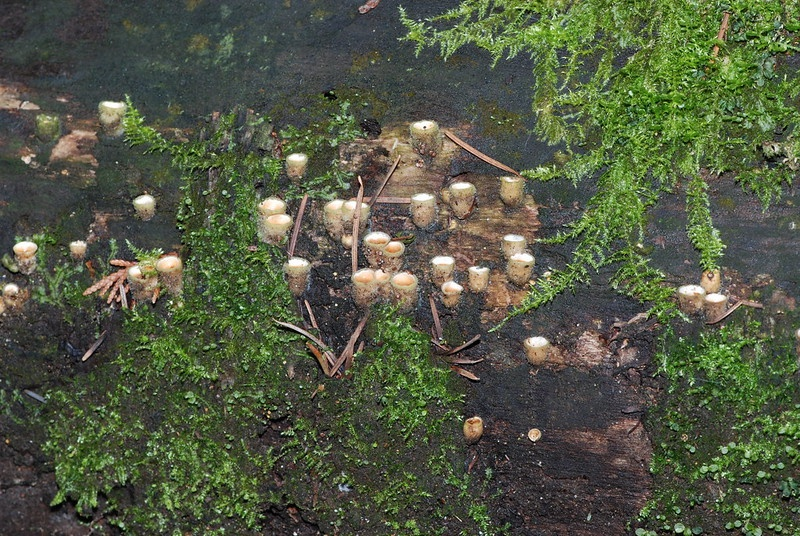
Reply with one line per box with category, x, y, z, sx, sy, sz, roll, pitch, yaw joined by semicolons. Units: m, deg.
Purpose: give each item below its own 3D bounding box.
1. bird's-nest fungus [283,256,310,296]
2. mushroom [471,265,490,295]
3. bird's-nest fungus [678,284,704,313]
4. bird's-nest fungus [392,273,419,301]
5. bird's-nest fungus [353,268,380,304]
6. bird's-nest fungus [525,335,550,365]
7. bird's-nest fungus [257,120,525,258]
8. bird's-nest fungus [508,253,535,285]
bird's-nest fungus;-0.842;0.038;8.093;0.276;0.313;0.275;6;26;13
mushroom;0.680;0.091;7.890;0.181;0.151;0.189;6;63;-2
bird's-nest fungus;2.427;0.262;7.650;0.205;0.136;0.199;3;63;-3
bird's-nest fungus;0.049;0.162;7.892;0.235;0.129;0.240;1;63;-4
bird's-nest fungus;-0.258;0.164;7.960;0.219;0.284;0.269;11;56;10
bird's-nest fungus;1.176;0.699;7.809;0.196;0.152;0.217;-11;64;-10
bird's-nest fungus;-0.035;-0.797;8.132;2.044;0.616;0.804;-9;64;-10
bird's-nest fungus;1.013;0.009;7.846;0.240;0.275;0.244;3;21;5
